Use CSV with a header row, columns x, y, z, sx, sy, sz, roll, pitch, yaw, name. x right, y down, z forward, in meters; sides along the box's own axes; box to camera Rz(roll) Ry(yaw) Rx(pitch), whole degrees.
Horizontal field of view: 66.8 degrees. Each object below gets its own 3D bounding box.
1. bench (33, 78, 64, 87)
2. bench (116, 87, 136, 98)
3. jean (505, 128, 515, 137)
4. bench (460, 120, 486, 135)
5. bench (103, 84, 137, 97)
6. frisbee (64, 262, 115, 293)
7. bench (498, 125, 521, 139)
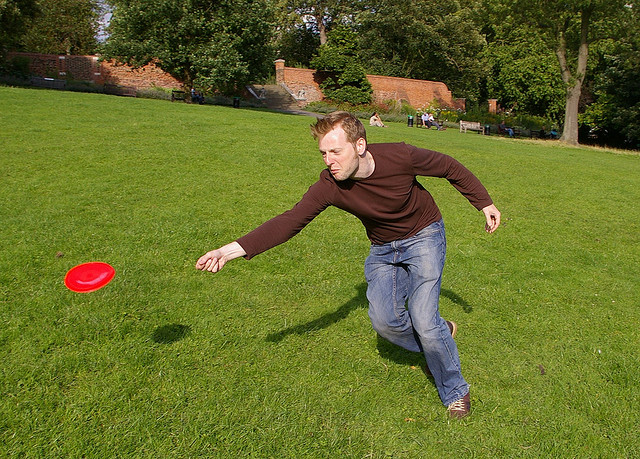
x,y,z,sx,sy,sz,roll,pitch,yaw,name
-16.193,-8.669,28.690,1.942,0.478,0.655,2,14,-2,bench
-12.799,-9.183,32.034,1.443,0.307,1.356,2,36,-15,bench
13.352,-6.871,34.060,0.578,0.200,0.557,-8,44,21,jean
10.843,-7.226,34.438,1.628,0.798,1.734,9,14,15,bench
-13.184,-9.089,31.708,2.115,0.503,2.052,-3,16,-31,bench
-2.532,0.542,5.286,0.434,0.294,0.419,18,18,41,frisbee
13.384,-6.928,34.754,1.648,0.935,1.010,-9,18,-26,bench
